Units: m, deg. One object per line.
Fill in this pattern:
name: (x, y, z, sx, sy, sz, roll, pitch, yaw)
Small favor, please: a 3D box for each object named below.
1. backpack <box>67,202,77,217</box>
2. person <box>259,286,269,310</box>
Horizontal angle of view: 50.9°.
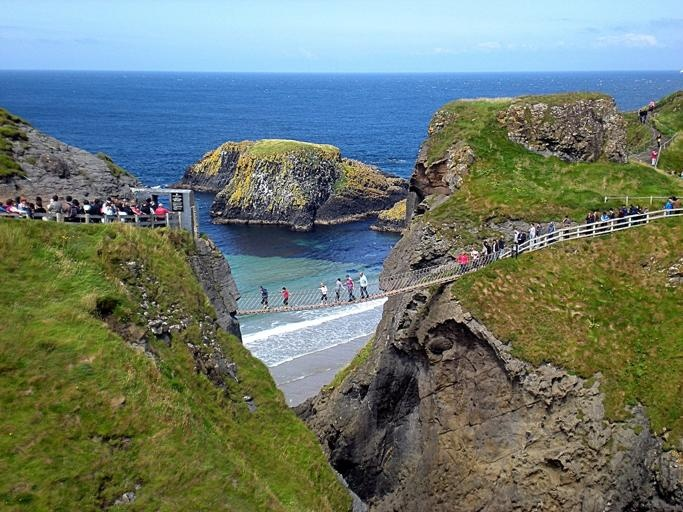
backpack: (-13.743, -2.296, 36.626, 0.470, 0.577, 0.702, -2, 31, -17)
person: (-6.458, 3.509, 59.217, 1.068, 1.058, 2.630, 8, 17, -13)
